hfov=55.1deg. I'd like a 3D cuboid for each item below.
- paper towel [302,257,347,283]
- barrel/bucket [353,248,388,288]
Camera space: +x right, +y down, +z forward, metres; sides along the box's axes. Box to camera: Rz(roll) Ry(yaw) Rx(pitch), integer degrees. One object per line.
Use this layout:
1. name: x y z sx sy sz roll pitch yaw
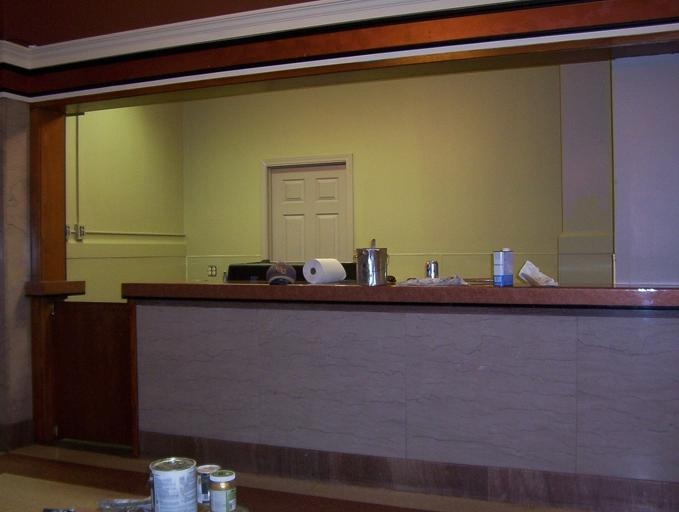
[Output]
1. paper towel: -0.102 0.106 4.168 0.222 0.182 0.319 0 8 12
2. barrel/bucket: 0.198 0.066 3.961 0.213 0.246 0.210 0 6 0
